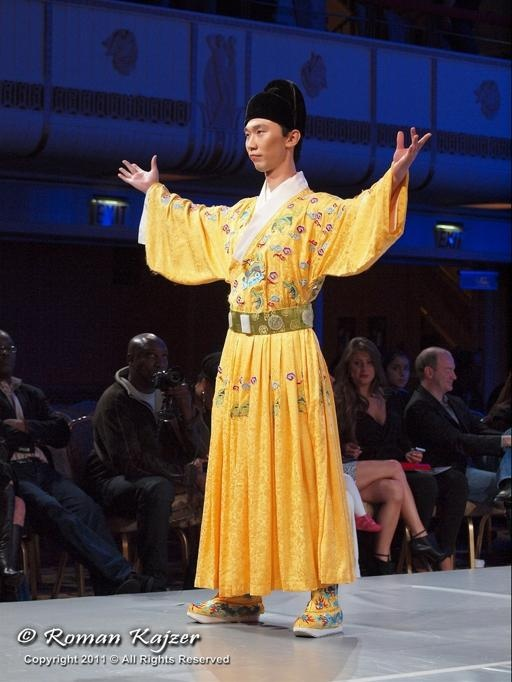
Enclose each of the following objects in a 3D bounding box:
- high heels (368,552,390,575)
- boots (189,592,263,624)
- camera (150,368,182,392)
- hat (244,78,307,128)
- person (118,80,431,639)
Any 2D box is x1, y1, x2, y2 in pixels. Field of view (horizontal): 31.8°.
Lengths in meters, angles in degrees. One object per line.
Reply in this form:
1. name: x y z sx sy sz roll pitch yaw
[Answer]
1. high heels: 0.482 0.872 3.528 0.093 0.072 0.079 0 -1 -3
2. boots: -0.074 0.738 2.488 0.237 0.089 0.071 2 -9 -1
3. camera: -0.335 0.148 3.356 0.095 0.047 0.088 -4 -6 34
4. hat: 0.064 -0.640 2.450 0.132 0.131 0.189 18 17 41
5. person: 0.059 0.019 2.452 0.937 1.487 0.280 -4 -6 38
